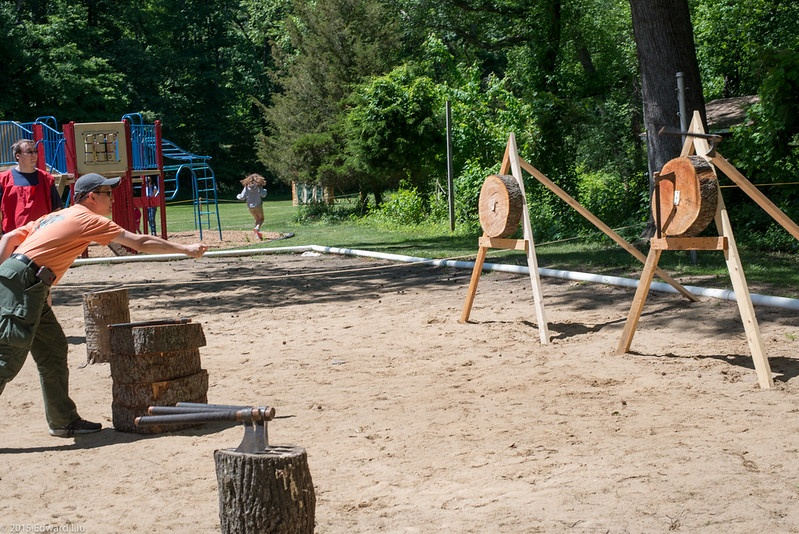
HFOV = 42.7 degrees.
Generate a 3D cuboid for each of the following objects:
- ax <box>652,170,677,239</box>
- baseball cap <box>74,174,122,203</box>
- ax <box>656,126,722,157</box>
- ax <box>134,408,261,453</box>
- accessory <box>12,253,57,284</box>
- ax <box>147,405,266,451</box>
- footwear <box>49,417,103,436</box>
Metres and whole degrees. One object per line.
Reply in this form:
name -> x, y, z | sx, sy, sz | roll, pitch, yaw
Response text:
ax -> 3.741, -0.920, 14.200 | 0.388, 0.993, 0.268 | -16, -33, 29
baseball cap -> -3.948, -1.072, 13.247 | 0.571, 0.262, 0.354 | -20, 10, -16
ax -> 4.071, -1.731, 14.250 | 0.693, 0.418, 0.994 | -1, 6, 9
ax -> -2.094, 1.765, 11.494 | 1.162, 0.381, 0.628 | -4, 0, 3
accessory -> -4.549, 0.019, 12.901 | 0.140, 0.404, 0.431 | -47, 8, -8
ax -> -2.096, 1.717, 11.414 | 1.090, 0.354, 0.619 | -3, -3, 9
footwear -> -4.205, 2.093, 13.304 | 0.658, 0.290, 0.243 | -4, 5, -14
